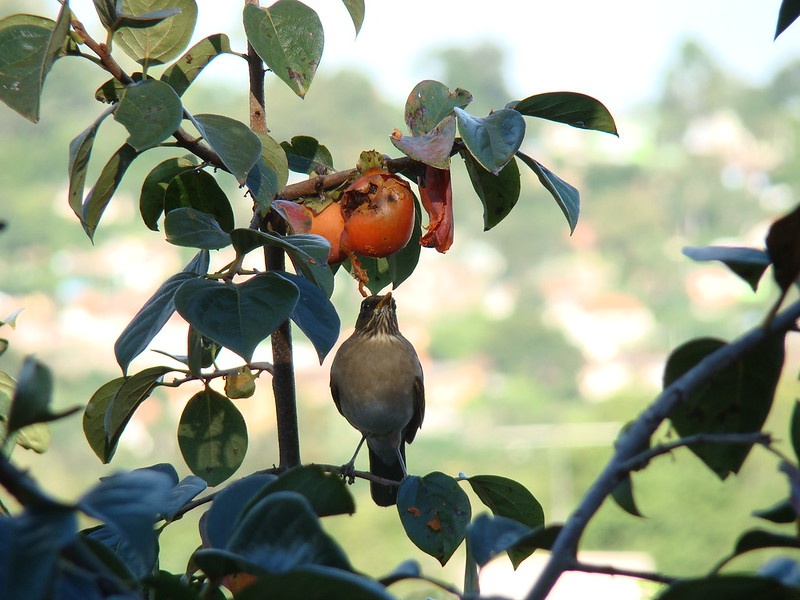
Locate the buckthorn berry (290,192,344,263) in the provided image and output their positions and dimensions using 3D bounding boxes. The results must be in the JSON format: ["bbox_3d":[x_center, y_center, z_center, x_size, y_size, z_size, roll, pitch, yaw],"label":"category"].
[{"bbox_3d":[-0.290,-0.298,5.337,0.155,0.147,0.280,-21,-55,19],"label":"buckthorn berry"}]
